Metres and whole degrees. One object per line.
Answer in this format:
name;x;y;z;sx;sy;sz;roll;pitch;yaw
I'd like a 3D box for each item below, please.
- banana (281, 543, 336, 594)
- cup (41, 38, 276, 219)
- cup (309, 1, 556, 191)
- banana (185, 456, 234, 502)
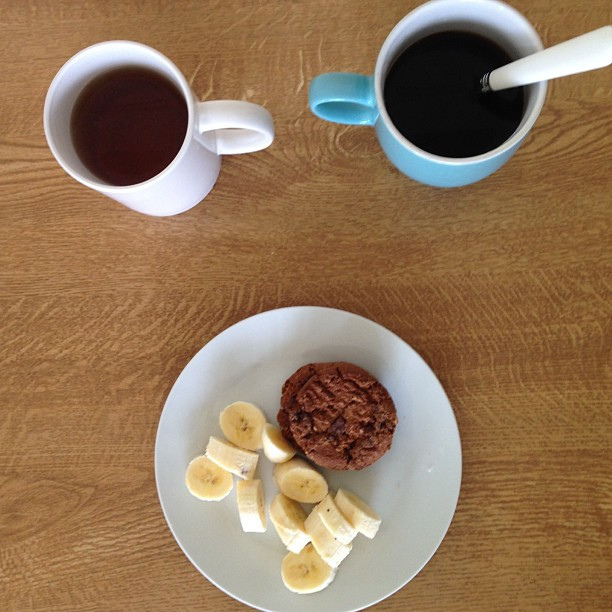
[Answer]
banana;0.010;0.473;1.177;0.104;0.064;0.075;-6;57;1
cup;-0.215;-0.270;1.051;0.360;0.230;0.183;-5;90;3
cup;0.211;-0.335;0.993;0.299;0.242;0.243;36;81;9
banana;-0.174;0.311;1.176;0.097;0.020;0.074;9;78;-13
